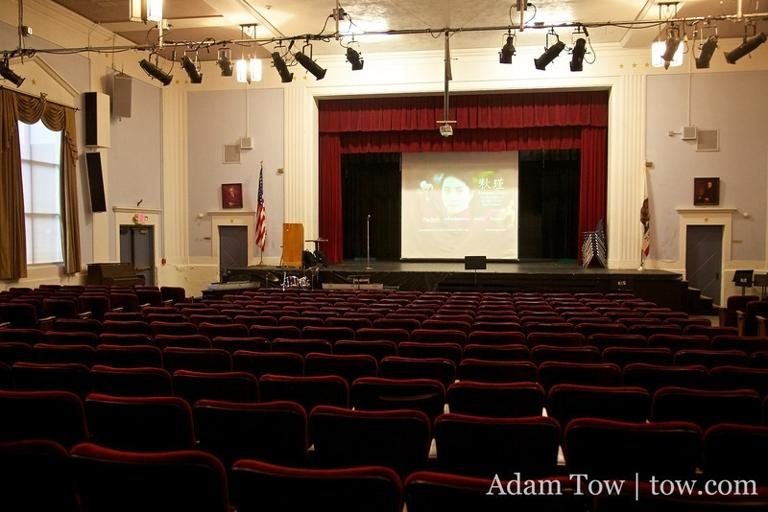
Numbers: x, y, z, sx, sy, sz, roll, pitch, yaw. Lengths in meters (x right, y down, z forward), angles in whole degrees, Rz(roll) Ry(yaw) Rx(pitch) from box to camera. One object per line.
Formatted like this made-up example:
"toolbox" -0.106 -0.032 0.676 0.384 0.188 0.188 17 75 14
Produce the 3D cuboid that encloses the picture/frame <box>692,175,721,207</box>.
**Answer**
"picture/frame" 8.437 -1.696 16.513 0.743 0.925 0.122 2 -3 9

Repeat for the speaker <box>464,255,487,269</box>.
"speaker" 2.148 0.239 14.960 0.489 0.333 0.272 0 -5 5

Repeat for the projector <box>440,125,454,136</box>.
"projector" 1.327 -2.687 13.671 0.436 0.237 0.616 2 10 6

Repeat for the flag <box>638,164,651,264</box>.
"flag" 6.860 -1.101 16.696 0.276 2.808 0.560 0 2 24
